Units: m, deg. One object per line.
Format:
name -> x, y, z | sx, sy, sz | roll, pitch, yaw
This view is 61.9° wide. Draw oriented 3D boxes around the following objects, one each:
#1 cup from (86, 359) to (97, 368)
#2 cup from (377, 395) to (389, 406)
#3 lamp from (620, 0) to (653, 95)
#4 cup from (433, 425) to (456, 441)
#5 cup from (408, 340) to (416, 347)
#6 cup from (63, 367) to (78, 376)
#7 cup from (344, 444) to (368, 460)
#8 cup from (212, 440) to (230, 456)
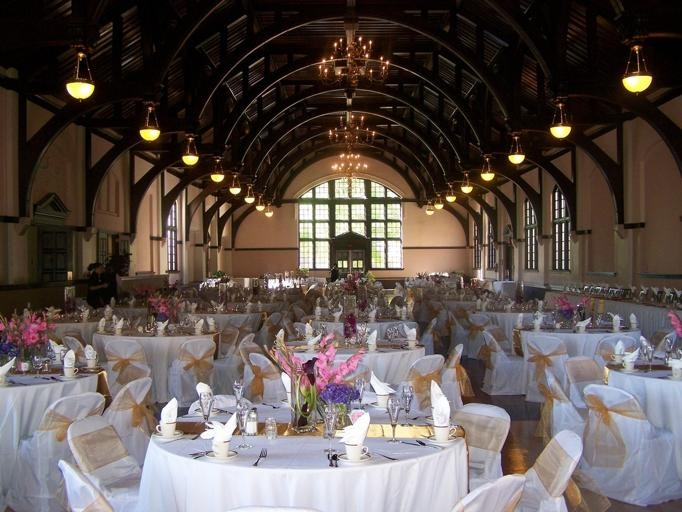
cup -> -2.900, 1.240, 6.618 | 0.088, 0.102, 0.112 | 0, -11, 0
cup -> 0.367, 1.281, 5.060 | 0.081, 0.084, 0.095 | -1, -1, -1
lamp -> 4.048, -2.761, 7.799 | 0.244, 1.055, 0.232 | 4, -13, 19
cup -> 0.786, 1.350, 4.343 | 0.151, 0.101, 0.111 | 1, -1, 42
cup -> 0.961, 1.175, 7.667 | 0.069, 0.078, 0.086 | 2, -6, -37
cup -> -2.894, 1.250, 6.114 | 0.092, 0.106, 0.131 | -3, -12, 13
cup -> 0.113, 1.389, 4.097 | 0.160, 0.123, 0.208 | -2, -7, 2
cup -> -0.873, 1.374, 4.080 | 0.154, 0.118, 0.085 | -4, -6, 19
